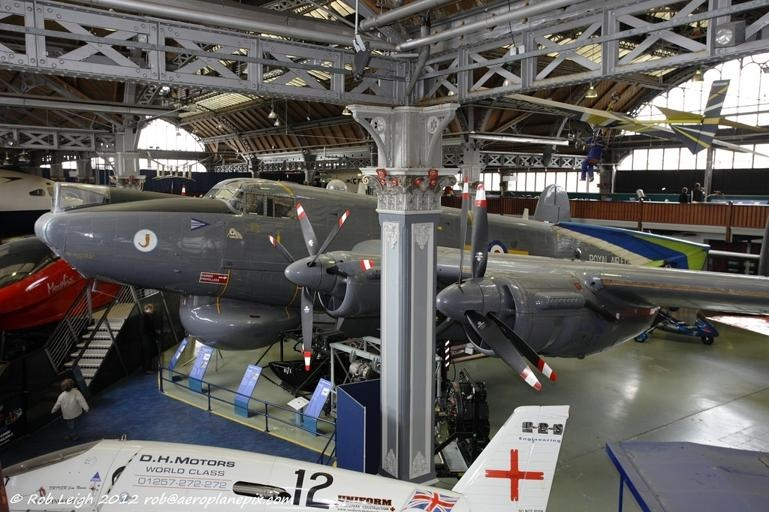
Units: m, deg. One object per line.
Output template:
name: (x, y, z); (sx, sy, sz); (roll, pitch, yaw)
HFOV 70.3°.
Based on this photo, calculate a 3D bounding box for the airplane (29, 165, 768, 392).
airplane: (0.136, 0.410, 15.390); (15.937, 5.104, 8.348); (3, 11, 18)

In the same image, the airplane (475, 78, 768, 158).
airplane: (11.612, -6.635, 25.755); (10.026, 2.381, 4.555); (11, 9, -12)
